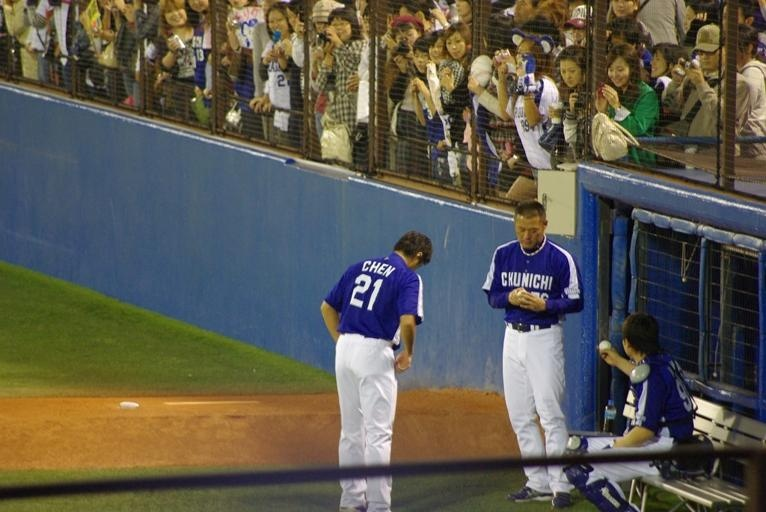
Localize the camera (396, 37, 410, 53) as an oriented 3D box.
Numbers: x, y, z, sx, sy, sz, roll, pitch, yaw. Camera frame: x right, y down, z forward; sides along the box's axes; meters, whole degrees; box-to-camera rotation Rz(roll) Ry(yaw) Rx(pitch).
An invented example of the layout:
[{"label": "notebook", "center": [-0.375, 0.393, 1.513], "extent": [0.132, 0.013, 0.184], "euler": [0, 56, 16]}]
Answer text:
[{"label": "camera", "center": [0.219, -2.541, 21.018], "extent": [0.142, 0.148, 0.145], "euler": [1, 12, 3]}]

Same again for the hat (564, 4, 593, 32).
[{"label": "hat", "center": [2.128, -2.652, 19.351], "extent": [0.200, 0.190, 0.309], "euler": [18, 30, 33]}]

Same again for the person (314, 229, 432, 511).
[{"label": "person", "center": [-0.101, 0.961, 18.333], "extent": [1.032, 2.482, 0.549], "euler": [1, -3, 0]}]

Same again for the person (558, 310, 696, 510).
[{"label": "person", "center": [2.523, 1.610, 17.913], "extent": [1.246, 2.048, 0.968], "euler": [1, -3, 11]}]

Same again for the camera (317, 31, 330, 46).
[{"label": "camera", "center": [-0.754, -2.726, 21.755], "extent": [0.119, 0.179, 0.134], "euler": [4, 33, 11]}]

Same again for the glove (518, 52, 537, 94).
[{"label": "glove", "center": [1.599, -2.053, 19.740], "extent": [0.210, 0.490, 0.293], "euler": [0, 5, -27]}]

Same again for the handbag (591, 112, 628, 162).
[{"label": "handbag", "center": [2.455, -1.314, 19.070], "extent": [0.230, 0.468, 0.431], "euler": [-23, 13, -18]}]

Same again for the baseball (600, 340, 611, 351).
[{"label": "baseball", "center": [2.324, 0.962, 18.562], "extent": [0.113, 0.143, 0.111], "euler": [5, 6, 44]}]

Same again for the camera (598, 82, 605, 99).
[{"label": "camera", "center": [2.354, -1.847, 19.141], "extent": [0.026, 0.121, 0.081], "euler": [5, 1, -20]}]

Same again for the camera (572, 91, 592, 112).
[{"label": "camera", "center": [2.162, -1.713, 19.314], "extent": [0.193, 0.205, 0.146], "euler": [-6, 11, -34]}]

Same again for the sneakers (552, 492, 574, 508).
[{"label": "sneakers", "center": [1.854, 2.560, 18.311], "extent": [0.187, 0.179, 0.158], "euler": [-1, 0, -2]}]

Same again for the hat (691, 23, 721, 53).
[{"label": "hat", "center": [3.486, -2.389, 19.036], "extent": [0.120, 0.325, 0.456], "euler": [3, -3, -26]}]

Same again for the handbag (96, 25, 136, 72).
[{"label": "handbag", "center": [-3.759, -2.940, 24.729], "extent": [0.625, 0.703, 0.462], "euler": [11, 13, 28]}]

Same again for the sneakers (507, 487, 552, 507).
[{"label": "sneakers", "center": [1.510, 2.538, 18.396], "extent": [0.454, 0.224, 0.175], "euler": [2, -1, 0]}]
